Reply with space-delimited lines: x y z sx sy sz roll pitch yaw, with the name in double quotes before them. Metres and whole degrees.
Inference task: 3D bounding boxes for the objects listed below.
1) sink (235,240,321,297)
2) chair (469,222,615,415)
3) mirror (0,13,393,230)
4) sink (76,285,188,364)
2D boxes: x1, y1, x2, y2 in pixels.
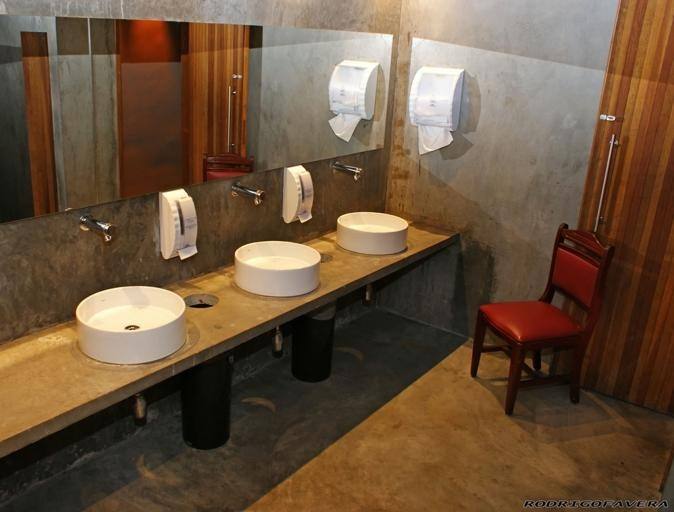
"sink" -0.320 0.054 2.978 0.458 0.178 0.458 8 26 12
"chair" 1.248 0.363 3.414 0.726 1.105 0.714 7 19 19
"mirror" -0.622 -0.771 2.788 0.063 0.824 2.171 21 31 37
"sink" -0.876 0.303 2.329 0.341 0.122 0.352 26 26 39
